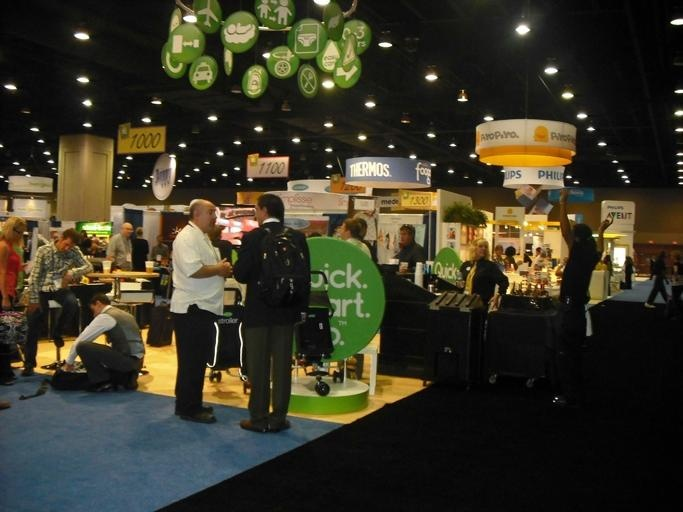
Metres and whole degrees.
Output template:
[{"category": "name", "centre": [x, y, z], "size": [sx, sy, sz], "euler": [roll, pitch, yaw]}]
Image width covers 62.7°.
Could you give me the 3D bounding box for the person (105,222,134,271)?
[{"category": "person", "centre": [-3.936, -0.151, 10.002], "size": [0.407, 0.861, 1.297], "euler": [1, 2, -21]}]

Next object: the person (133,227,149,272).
[{"category": "person", "centre": [-4.141, -0.123, 11.581], "size": [0.303, 0.872, 0.784], "euler": [1, 2, -21]}]

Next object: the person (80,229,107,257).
[{"category": "person", "centre": [-5.936, -0.281, 13.497], "size": [0.433, 0.377, 1.277], "euler": [15, 6, -24]}]

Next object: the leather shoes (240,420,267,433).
[{"category": "leather shoes", "centre": [-0.707, 1.405, 4.591], "size": [0.228, 0.086, 0.086], "euler": [5, 2, 29]}]

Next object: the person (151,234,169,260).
[{"category": "person", "centre": [-4.292, -0.178, 13.294], "size": [0.443, 0.570, 1.182], "euler": [1, 2, -16]}]

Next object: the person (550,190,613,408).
[{"category": "person", "centre": [2.286, 0.412, 5.462], "size": [0.373, 2.067, 0.702], "euler": [2, 1, 21]}]

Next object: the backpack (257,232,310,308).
[{"category": "backpack", "centre": [-0.458, 0.107, 4.457], "size": [0.410, 0.647, 0.289], "euler": [1, 1, -5]}]

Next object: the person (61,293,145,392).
[{"category": "person", "centre": [-2.472, 0.911, 5.888], "size": [0.787, 0.984, 0.745], "euler": [-4, -7, 10]}]
